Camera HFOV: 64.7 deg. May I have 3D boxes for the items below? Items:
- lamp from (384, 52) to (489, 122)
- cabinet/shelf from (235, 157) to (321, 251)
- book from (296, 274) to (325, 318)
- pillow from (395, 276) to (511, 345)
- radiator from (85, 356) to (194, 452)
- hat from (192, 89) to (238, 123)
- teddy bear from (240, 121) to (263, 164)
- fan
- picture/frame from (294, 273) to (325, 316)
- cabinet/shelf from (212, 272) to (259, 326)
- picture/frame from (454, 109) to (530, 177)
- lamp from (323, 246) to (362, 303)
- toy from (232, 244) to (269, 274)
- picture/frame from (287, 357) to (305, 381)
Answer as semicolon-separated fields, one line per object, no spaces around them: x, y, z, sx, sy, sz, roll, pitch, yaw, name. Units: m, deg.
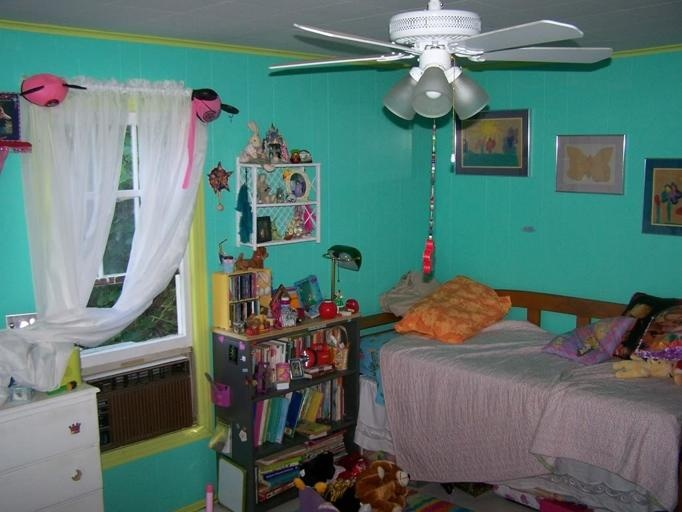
0.392;-0.715;2.259;0.471;0.286;0.426;8;12;7;lamp
-0.453;-0.414;4.262;0.694;0.673;0.223;-4;7;-27;cabinet/shelf
-0.270;0.321;4.560;0.246;0.303;0.093;-24;8;-40;book
0.989;0.440;4.649;0.974;0.443;0.510;-7;9;-40;pillow
-1.517;1.025;4.005;0.894;0.563;0.507;-13;19;-42;radiator
-0.917;-1.108;3.928;0.201;0.262;0.373;2;8;24;hat
-0.662;-0.867;4.148;0.167;0.305;0.252;2;8;25;teddy bear
0.482;-0.638;2.258;0.834;0.316;0.860;0;-1;-4;fan
-0.270;0.309;4.565;0.087;0.290;0.264;-13;11;47;picture/frame
-0.803;0.320;4.034;0.278;0.501;0.384;4;6;42;cabinet/shelf
1.351;-0.996;4.698;0.795;0.647;0.060;7;14;39;picture/frame
-0.011;0.150;4.714;0.327;0.592;0.411;-6;12;-21;lamp
-0.711;0.019;4.218;0.308;0.174;0.204;-6;8;-30;toy
-0.362;0.894;4.236;0.018;0.178;0.166;-9;-19;39;picture/frame
